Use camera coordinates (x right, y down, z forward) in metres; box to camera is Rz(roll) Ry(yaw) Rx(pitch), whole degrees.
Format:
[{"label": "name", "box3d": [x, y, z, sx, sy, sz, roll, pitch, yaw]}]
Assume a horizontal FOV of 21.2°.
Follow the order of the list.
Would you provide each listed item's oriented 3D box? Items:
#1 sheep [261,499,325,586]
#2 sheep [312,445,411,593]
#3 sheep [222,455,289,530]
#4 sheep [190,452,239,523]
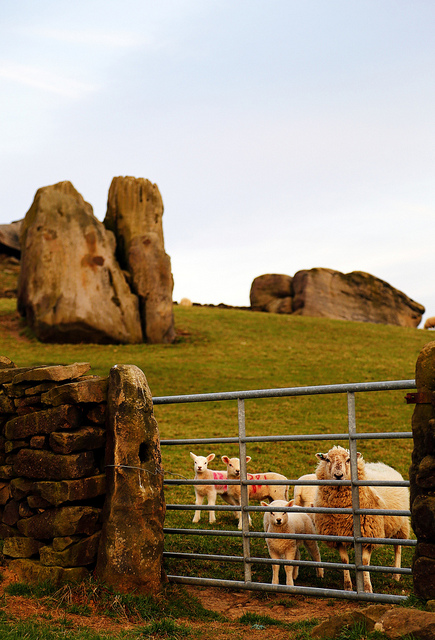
[{"label": "sheep", "box3d": [0.823, 2.572, 13.387, 0.465, 0.958, 1.461, -5, -8, 18]}, {"label": "sheep", "box3d": [1.669, 2.335, 13.665, 1.044, 1.648, 2.119, -1, -3, 26]}, {"label": "sheep", "box3d": [0.638, 2.538, 16.919, 1.234, 0.811, 0.340, -3, -5, 41]}, {"label": "sheep", "box3d": [-0.023, 2.540, 17.504, 0.397, 0.941, 1.426, -2, -9, 27]}]
